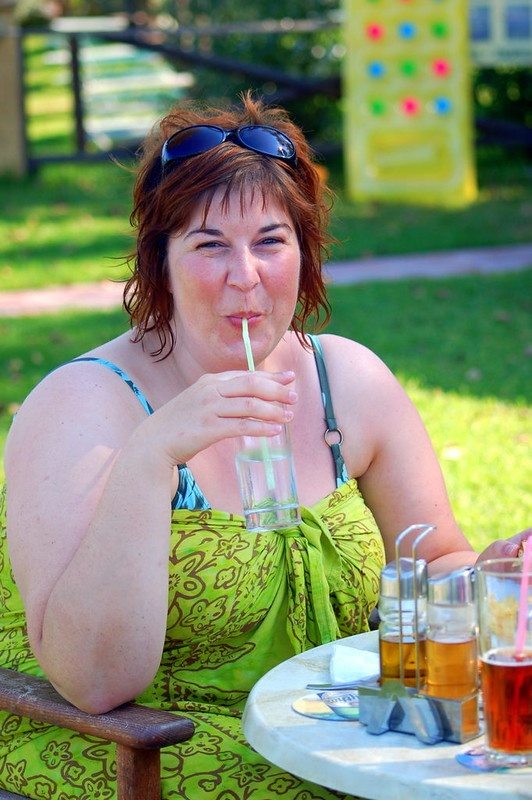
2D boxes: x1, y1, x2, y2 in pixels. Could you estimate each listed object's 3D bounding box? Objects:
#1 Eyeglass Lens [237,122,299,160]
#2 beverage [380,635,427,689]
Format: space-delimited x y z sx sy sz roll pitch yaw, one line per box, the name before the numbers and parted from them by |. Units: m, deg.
Eyeglass Lens | 0.004 -0.567 1.874 0.104 0.026 0.103 23 19 23
beverage | 0.193 0.372 1.203 0.077 0.071 0.074 0 -2 -1
